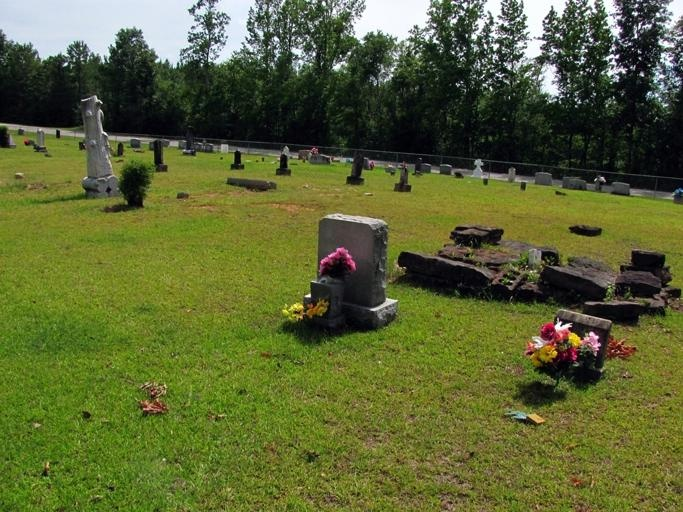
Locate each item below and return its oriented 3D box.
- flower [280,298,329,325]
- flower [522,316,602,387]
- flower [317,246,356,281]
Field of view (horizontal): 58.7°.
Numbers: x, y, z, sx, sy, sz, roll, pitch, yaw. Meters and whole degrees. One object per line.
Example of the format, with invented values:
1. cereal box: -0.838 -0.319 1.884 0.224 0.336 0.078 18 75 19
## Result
1. flower: -0.645 1.012 11.115 0.675 0.362 0.484 -27 47 3
2. flower: 3.680 1.677 9.999 0.956 1.065 1.147 31 -25 -36
3. flower: -0.085 0.153 11.154 0.574 0.616 0.550 5 0 -23
